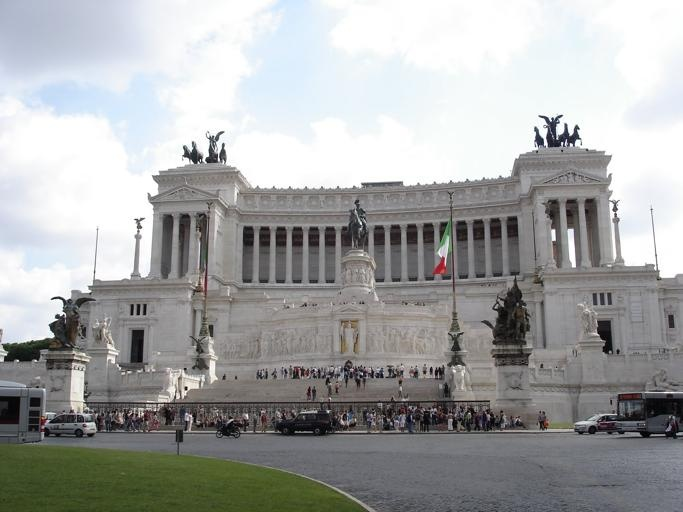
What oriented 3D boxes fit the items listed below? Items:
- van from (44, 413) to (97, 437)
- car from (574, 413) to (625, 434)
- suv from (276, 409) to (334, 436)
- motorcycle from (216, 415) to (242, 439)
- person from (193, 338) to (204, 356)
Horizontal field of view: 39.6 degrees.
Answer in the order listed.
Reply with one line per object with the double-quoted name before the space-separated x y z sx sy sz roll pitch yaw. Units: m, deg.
"van" -13.103 8.238 46.199 1.932 0.868 1.118 4 -13 4
"car" 13.422 8.876 50.096 1.818 0.773 1.098 3 -11 -13
"suv" -1.843 8.373 47.448 2.402 0.902 1.237 2 -13 3
"motorcycle" -5.422 8.278 45.828 1.510 1.018 0.867 0 -21 5
"person" -10.018 6.395 66.854 1.047 1.036 0.532 8 -39 -31
